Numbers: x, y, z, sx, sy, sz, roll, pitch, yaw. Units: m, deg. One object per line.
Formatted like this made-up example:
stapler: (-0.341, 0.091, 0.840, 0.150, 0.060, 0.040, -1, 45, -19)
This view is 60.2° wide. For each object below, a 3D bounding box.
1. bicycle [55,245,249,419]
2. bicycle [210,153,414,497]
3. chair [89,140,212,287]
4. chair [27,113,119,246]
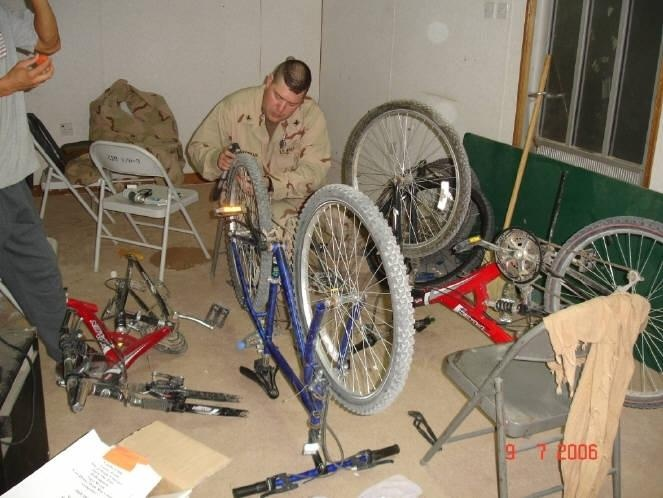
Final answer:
bicycle: (-1.137, 0.429, 3.192, 1.278, 0.874, 0.620, 10, 10, 32)
bicycle: (-0.075, 0.244, 3.043, 1.017, 1.439, 1.784, -5, 21, -9)
chair: (-1.400, -0.350, 4.306, 0.586, 1.115, 0.717, 12, 23, 16)
chair: (-2.097, -0.558, 4.652, 0.749, 1.241, 0.658, -1, 34, -23)
